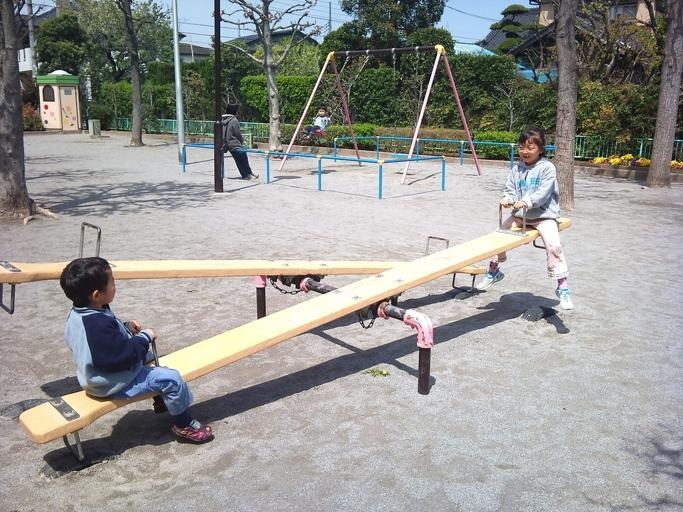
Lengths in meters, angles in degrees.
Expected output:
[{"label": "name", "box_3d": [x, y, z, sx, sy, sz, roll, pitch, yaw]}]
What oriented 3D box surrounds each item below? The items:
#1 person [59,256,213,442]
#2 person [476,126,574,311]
[{"label": "person", "box_3d": [-1.333, 0.620, 3.830, 0.797, 1.229, 0.313, -3, 16, -17]}, {"label": "person", "box_3d": [1.859, -0.362, 5.706, 0.672, 1.661, 0.837, 2, 15, 0]}]
